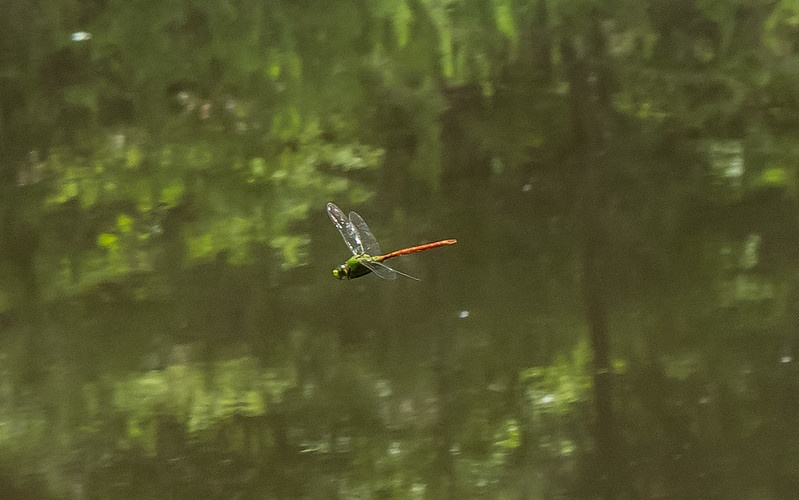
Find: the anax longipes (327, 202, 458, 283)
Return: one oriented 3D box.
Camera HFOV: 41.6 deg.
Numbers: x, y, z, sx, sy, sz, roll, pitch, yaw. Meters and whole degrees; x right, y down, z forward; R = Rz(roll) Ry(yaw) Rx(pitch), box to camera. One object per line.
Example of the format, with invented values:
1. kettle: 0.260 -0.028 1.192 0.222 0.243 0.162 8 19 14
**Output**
1. anax longipes: -0.054 -0.004 4.739 0.564 0.459 0.264 -11 99 23
